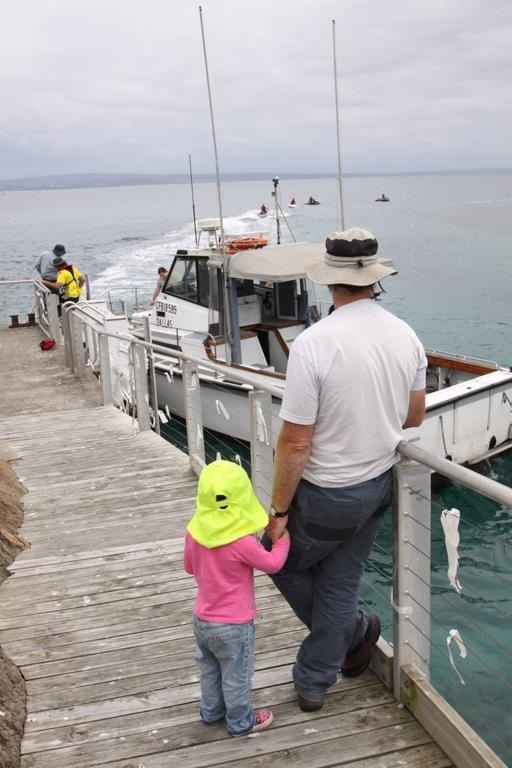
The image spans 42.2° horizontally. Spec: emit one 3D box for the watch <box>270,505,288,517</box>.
[{"bbox_3d":[0.079,0.409,2.152,0.041,0.022,0.042,-1,6,-17],"label":"watch"}]

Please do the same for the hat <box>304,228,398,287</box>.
[{"bbox_3d":[0.291,-0.406,2.120,0.262,0.191,0.317,-4,11,5],"label":"hat"}]

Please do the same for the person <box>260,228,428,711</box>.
[{"bbox_3d":[0.290,0.369,2.239,0.596,1.746,0.474,-3,12,13],"label":"person"}]

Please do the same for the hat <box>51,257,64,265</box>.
[{"bbox_3d":[-4.104,-2.537,13.649,0.239,0.098,0.239,10,42,45],"label":"hat"}]

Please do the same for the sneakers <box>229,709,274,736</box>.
[{"bbox_3d":[-0.001,1.207,2.405,0.172,0.064,0.065,-16,22,-31],"label":"sneakers"}]

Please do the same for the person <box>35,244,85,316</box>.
[{"bbox_3d":[-3.971,-2.168,13.424,0.759,1.339,2.150,-9,11,-17],"label":"person"}]

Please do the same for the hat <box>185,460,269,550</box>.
[{"bbox_3d":[-0.101,0.388,2.194,0.269,0.287,0.178,-7,11,-9],"label":"hat"}]

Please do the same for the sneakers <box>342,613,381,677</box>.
[{"bbox_3d":[0.423,1.043,2.645,0.139,0.303,0.106,13,22,-2],"label":"sneakers"}]

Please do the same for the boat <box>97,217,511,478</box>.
[{"bbox_3d":[0.040,-0.866,11.611,3.141,3.558,8.705,-14,26,-33],"label":"boat"}]
